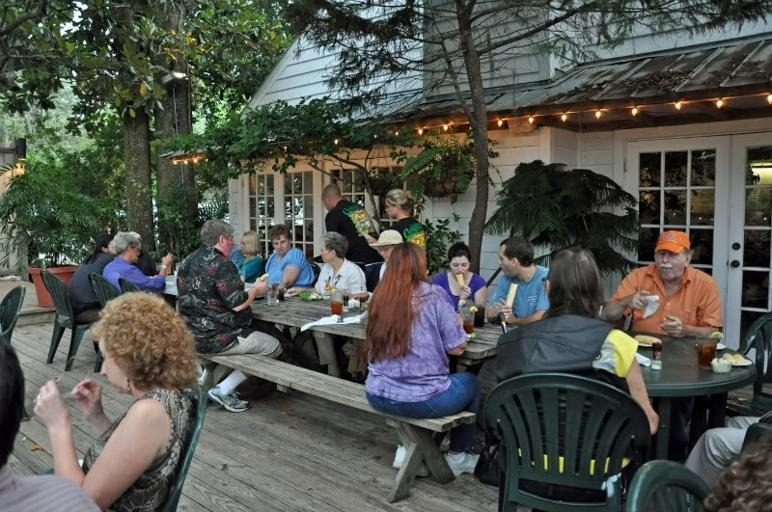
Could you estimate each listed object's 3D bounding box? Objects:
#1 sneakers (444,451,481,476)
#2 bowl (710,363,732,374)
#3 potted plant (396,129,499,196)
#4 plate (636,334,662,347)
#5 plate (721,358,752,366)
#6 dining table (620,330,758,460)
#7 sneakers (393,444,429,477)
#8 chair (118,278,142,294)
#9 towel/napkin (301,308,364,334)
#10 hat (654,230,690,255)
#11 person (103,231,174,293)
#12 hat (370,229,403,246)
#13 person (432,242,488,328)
[{"bbox_3d":[0.542,1.487,4.227,0.245,0.252,0.147,8,-5,6],"label":"sneakers"},{"bbox_3d":[2.036,0.684,3.546,0.076,0.040,0.076,1,-2,0],"label":"bowl"},{"bbox_3d":[0.680,-1.068,6.715,0.889,0.428,0.909,-2,0,29],"label":"potted plant"},{"bbox_3d":[1.802,0.589,4.058,0.135,0.020,0.133,-10,15,-36],"label":"plate"},{"bbox_3d":[2.186,0.663,3.630,0.117,0.029,0.120,-1,3,9],"label":"plate"},{"bbox_3d":[1.820,0.773,3.656,0.754,0.571,0.772,0,7,24],"label":"dining table"},{"bbox_3d":[0.159,1.480,4.166,0.184,0.093,0.255,-8,2,3],"label":"sneakers"},{"bbox_3d":[-2.563,0.297,5.873,0.149,0.197,0.147,-1,5,-20],"label":"chair"},{"bbox_3d":[-0.428,0.546,4.907,0.534,0.127,0.405,-1,10,-2],"label":"towel/napkin"},{"bbox_3d":[2.213,-0.107,4.486,0.179,0.131,0.262,0,-2,38],"label":"hat"},{"bbox_3d":[-2.871,0.098,6.796,0.844,0.835,0.633,0,17,-37],"label":"person"},{"bbox_3d":[0.052,-0.176,5.399,0.199,0.080,0.216,-15,-7,41],"label":"hat"},{"bbox_3d":[0.630,0.368,5.009,0.493,0.824,0.470,0,9,-4],"label":"person"}]
